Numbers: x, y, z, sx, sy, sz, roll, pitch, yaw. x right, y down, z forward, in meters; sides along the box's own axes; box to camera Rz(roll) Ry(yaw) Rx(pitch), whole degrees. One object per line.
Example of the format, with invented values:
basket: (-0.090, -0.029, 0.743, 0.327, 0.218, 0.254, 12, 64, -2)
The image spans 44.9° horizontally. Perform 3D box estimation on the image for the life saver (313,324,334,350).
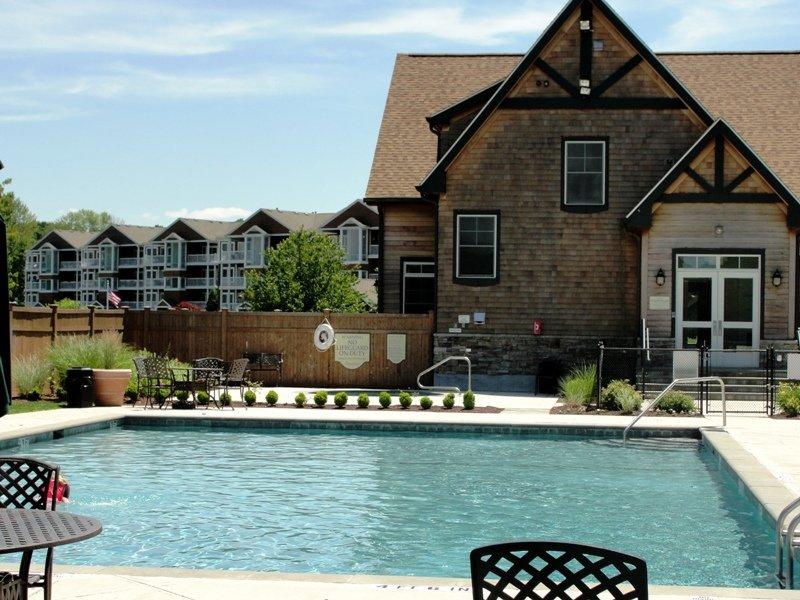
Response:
life saver: (-2.178, 1.057, 27.524, 0.658, 0.714, 0.077, -6, -9, 38)

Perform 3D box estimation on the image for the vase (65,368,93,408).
vase: (-7.394, 2.049, 22.748, 0.590, 0.917, 0.525, -2, 4, -18)

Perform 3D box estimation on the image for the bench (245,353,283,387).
bench: (-3.955, 2.035, 28.406, 0.999, 0.963, 0.420, 0, -1, -1)

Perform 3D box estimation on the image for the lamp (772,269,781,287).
lamp: (10.087, -0.568, 26.577, 0.276, 0.497, 0.160, 1, 4, 20)

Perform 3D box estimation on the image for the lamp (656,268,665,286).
lamp: (7.051, -0.600, 26.982, 0.291, 0.503, 0.138, 0, 4, 12)

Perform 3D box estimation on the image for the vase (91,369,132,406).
vase: (-6.812, 2.103, 23.295, 0.806, 0.743, 0.839, 0, -2, 15)
